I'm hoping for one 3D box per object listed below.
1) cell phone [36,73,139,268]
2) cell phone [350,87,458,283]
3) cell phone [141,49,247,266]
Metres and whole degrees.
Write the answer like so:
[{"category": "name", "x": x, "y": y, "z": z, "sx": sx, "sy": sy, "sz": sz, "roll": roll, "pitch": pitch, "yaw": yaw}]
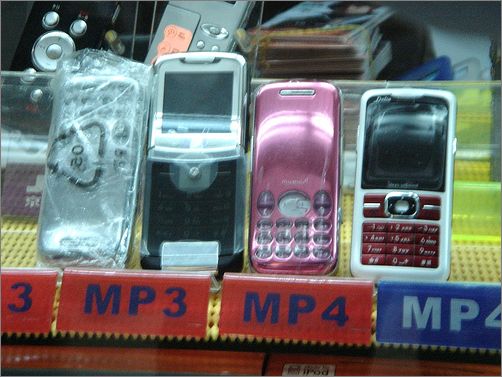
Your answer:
[{"category": "cell phone", "x": -0.226, "y": -0.009, "z": 0.749, "sx": 0.114, "sy": 0.275, "sz": 0.064, "roll": 3, "pitch": -17, "yaw": 3}, {"category": "cell phone", "x": 0.216, "y": -0.010, "z": 0.733, "sx": 0.141, "sy": 0.255, "sz": 0.115, "roll": 1, "pitch": 5, "yaw": 15}, {"category": "cell phone", "x": -0.081, "y": -0.038, "z": 0.774, "sx": 0.143, "sy": 0.368, "sz": 0.042, "roll": -1, "pitch": -30, "yaw": 1}]
